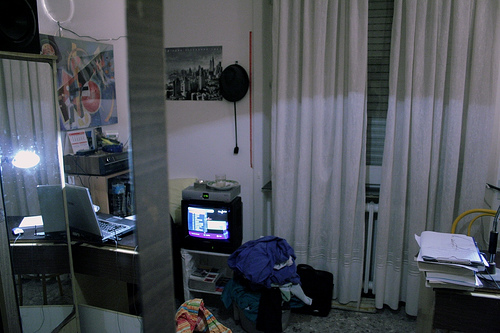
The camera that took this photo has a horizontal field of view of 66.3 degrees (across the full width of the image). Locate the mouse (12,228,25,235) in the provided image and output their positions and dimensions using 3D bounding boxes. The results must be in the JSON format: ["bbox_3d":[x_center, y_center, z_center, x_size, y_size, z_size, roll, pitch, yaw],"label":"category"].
[{"bbox_3d":[-1.664,0.461,2.726,0.080,0.038,0.061,3,1,27],"label":"mouse"}]

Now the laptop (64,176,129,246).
[{"bbox_3d":[-1.304,0.327,3.267,0.602,0.445,0.469,5,19,41],"label":"laptop"}]

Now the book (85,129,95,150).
[{"bbox_3d":[-1.543,-0.268,3.688,0.059,0.186,0.071,5,9,40],"label":"book"}]

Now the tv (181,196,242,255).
[{"bbox_3d":[-0.388,0.579,4.000,0.562,0.533,0.420,3,8,9],"label":"tv"}]
